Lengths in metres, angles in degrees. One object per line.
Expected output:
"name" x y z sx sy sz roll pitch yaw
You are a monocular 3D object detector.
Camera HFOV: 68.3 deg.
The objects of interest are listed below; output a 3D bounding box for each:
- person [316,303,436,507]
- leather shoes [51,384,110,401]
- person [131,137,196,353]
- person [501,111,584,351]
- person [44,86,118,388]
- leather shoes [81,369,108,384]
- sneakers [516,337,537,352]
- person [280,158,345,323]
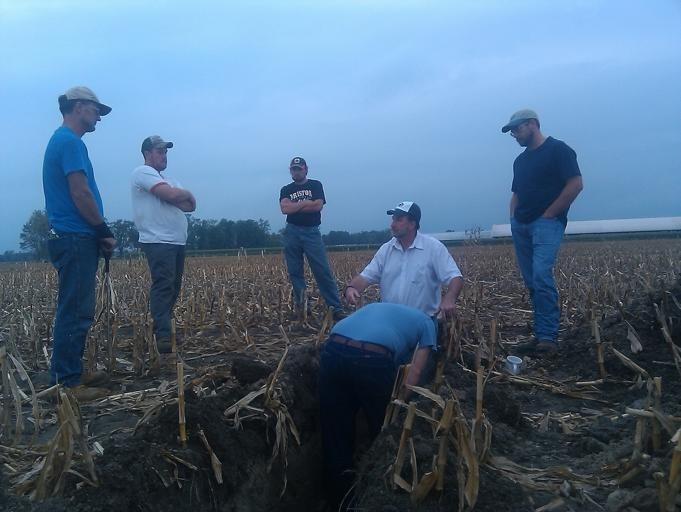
"person" 0.268 1.237 4.014 0.873 1.677 0.416 -2 2 -4
"leather shoes" -2.092 1.132 4.216 0.283 0.106 0.231 -2 2 19
"person" -1.861 -0.159 5.318 0.615 1.559 0.737 -3 2 -24
"person" 2.170 -0.341 5.476 0.623 2.551 0.845 -2 2 -13
"person" -2.237 -0.170 4.311 0.546 2.123 0.571 -3 2 -32
"leather shoes" -2.228 1.094 4.501 0.133 0.119 0.146 -1 -2 22
"sneakers" 1.926 0.924 5.215 0.220 0.135 0.193 -2 2 19
"person" -0.440 -0.257 6.643 0.648 2.101 1.172 -3 2 -30
